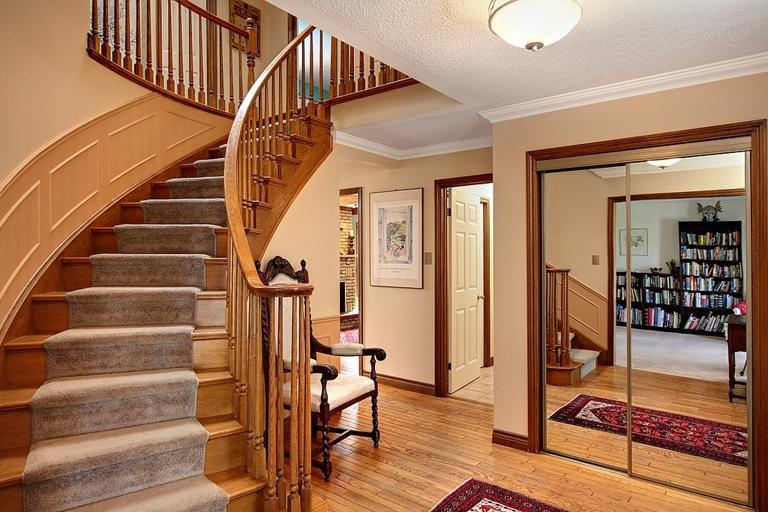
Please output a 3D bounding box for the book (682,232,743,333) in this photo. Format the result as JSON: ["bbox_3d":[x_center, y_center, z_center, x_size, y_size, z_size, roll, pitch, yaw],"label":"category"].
[{"bbox_3d":[2.795,0.211,4.386,0.214,0.912,0.539,-6,13,-18],"label":"book"}]

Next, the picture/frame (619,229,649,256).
[{"bbox_3d":[2.277,-0.128,4.585,0.247,0.287,0.010,-2,2,21],"label":"picture/frame"}]
